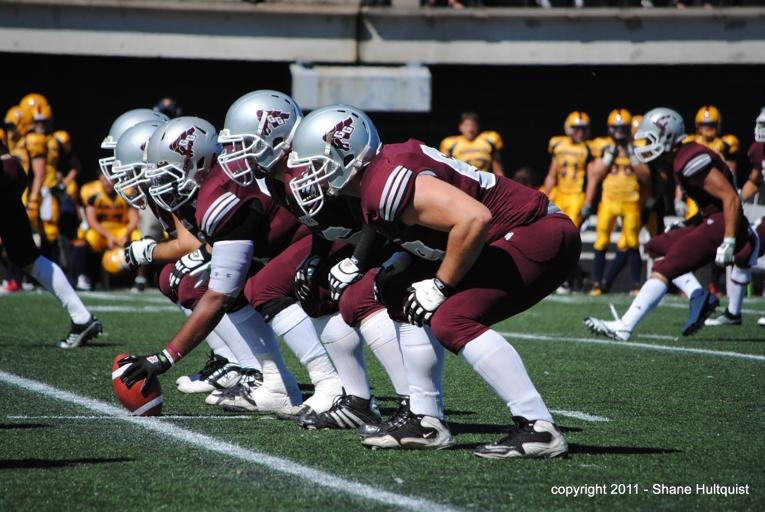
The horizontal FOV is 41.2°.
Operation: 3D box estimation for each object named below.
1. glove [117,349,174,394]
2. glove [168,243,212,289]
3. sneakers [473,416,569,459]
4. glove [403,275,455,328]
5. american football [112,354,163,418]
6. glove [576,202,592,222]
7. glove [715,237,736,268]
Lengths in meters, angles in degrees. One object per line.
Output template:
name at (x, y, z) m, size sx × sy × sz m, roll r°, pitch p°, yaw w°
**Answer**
glove at (-1.443, 0.674, 6.186) m, size 0.308 × 0.207 × 0.101 m, roll -21°, pitch -12°, yaw 3°
glove at (-1.260, 0.080, 6.614) m, size 0.276 × 0.076 × 0.286 m, roll -33°, pitch 38°, yaw 20°
sneakers at (0.821, 1.022, 5.800) m, size 0.587 × 0.300 × 0.201 m, roll 1°, pitch -6°, yaw -2°
glove at (0.238, 0.247, 5.608) m, size 0.275 × 0.209 × 0.124 m, roll -33°, pitch 44°, yaw -14°
american football at (-1.513, 0.809, 6.213) m, size 0.369 × 0.229 × 0.280 m, roll 38°, pitch -7°, yaw 3°
glove at (2.485, -0.550, 12.655) m, size 0.222 × 0.218 × 0.180 m, roll 16°, pitch 9°, yaw 39°
glove at (2.757, -0.037, 8.171) m, size 0.102 × 0.245 × 0.139 m, roll 40°, pitch -9°, yaw -27°
